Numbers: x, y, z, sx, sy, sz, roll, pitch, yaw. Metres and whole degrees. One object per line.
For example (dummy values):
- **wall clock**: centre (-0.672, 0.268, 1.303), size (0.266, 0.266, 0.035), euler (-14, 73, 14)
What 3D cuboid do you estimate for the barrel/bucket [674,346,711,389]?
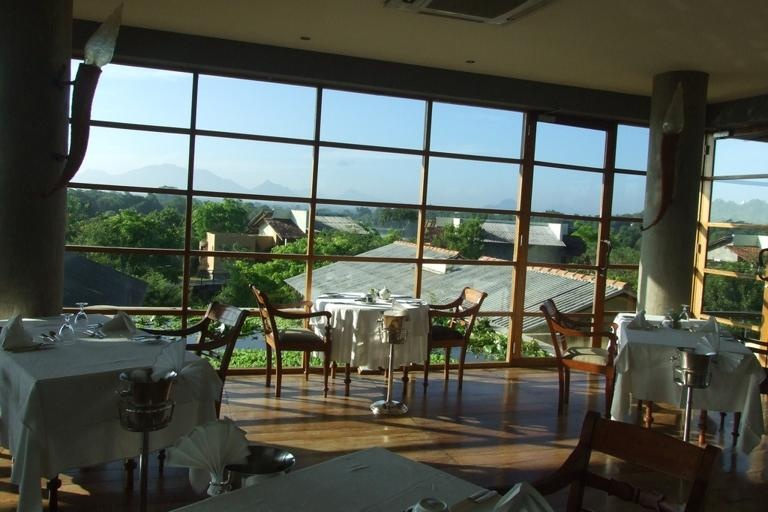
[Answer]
- **barrel/bucket**: centre (2.425, 0.896, 4.793), size (0.248, 0.354, 0.289), euler (9, 13, 30)

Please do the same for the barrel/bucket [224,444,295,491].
- **barrel/bucket**: centre (-0.671, 1.149, 3.285), size (0.348, 0.271, 0.162), euler (-1, 12, -16)

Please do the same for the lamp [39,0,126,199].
- **lamp**: centre (-2.567, -1.288, 5.223), size (0.453, 1.570, 1.174), euler (-5, 14, -35)

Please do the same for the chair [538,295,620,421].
- **chair**: centre (2.356, 1.080, 7.199), size (1.209, 1.690, 1.071), euler (0, 2, 24)

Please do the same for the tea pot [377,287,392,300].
- **tea pot**: centre (0.007, 0.436, 6.985), size (0.126, 0.149, 0.126), euler (-1, -3, 0)

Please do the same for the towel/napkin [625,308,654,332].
- **towel/napkin**: centre (2.574, 0.668, 6.180), size (0.204, 0.208, 0.114), euler (1, -39, 9)

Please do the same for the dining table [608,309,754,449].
- **dining table**: centre (2.802, 1.100, 5.662), size (0.959, 0.679, 1.594), euler (2, -6, 14)
